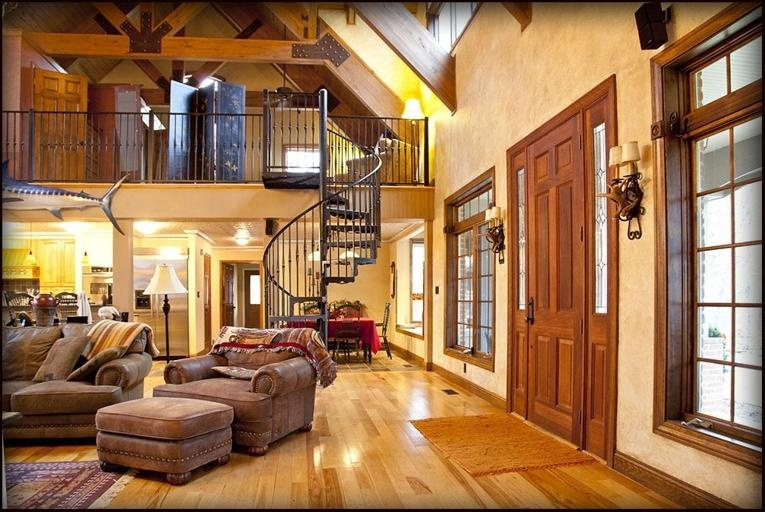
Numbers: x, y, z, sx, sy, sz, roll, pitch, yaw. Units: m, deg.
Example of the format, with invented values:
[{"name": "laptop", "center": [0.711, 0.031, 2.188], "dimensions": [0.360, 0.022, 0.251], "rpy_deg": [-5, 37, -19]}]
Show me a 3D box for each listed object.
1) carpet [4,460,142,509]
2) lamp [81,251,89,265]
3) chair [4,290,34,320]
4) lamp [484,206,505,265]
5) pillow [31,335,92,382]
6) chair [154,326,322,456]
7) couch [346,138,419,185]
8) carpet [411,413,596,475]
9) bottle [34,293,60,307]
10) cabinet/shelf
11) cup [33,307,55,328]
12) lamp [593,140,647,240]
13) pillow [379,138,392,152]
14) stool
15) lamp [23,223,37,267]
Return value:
[{"name": "carpet", "center": [-2.869, 2.022, 5.010], "dimensions": [1.177, 0.088, 0.850], "rpy_deg": [-1, 2, -3]}, {"name": "lamp", "center": [-5.891, 0.024, 11.135], "dimensions": [0.144, 0.278, 0.266], "rpy_deg": [-2, 3, -27]}, {"name": "chair", "center": [-6.811, 0.914, 10.497], "dimensions": [0.498, 0.804, 0.535], "rpy_deg": [3, -10, -32]}, {"name": "lamp", "center": [1.449, -0.299, 7.295], "dimensions": [0.183, 0.798, 0.349], "rpy_deg": [-1, 3, -6]}, {"name": "pillow", "center": [-3.514, 1.110, 6.176], "dimensions": [0.476, 0.452, 0.153], "rpy_deg": [-4, -36, 23]}, {"name": "chair", "center": [-1.446, 1.318, 6.090], "dimensions": [1.606, 1.080, 1.243], "rpy_deg": [-3, -7, 22]}, {"name": "couch", "center": [0.052, -1.814, 10.853], "dimensions": [1.121, 1.069, 1.067], "rpy_deg": [1, -3, -24]}, {"name": "carpet", "center": [1.155, 1.940, 5.959], "dimensions": [1.316, 0.060, 1.719], "rpy_deg": [-1, 2, -17]}, {"name": "bottle", "center": [-4.246, 0.541, 6.974], "dimensions": [0.278, 0.179, 0.278], "rpy_deg": [0, -1, 0]}, {"name": "cabinet/shelf", "center": [-4.611, -2.433, 10.973], "dimensions": [3.997, 2.237, 3.952], "rpy_deg": [-1, 2, -7]}, {"name": "cup", "center": [-4.252, 0.757, 6.999], "dimensions": [0.266, 0.254, 0.253], "rpy_deg": [0, -3, 0]}, {"name": "lamp", "center": [2.120, -0.599, 5.092], "dimensions": [0.300, 0.889, 0.416], "rpy_deg": [-1, 3, -9]}, {"name": "pillow", "center": [0.052, -2.147, 10.739], "dimensions": [0.190, 0.326, 0.349], "rpy_deg": [1, 1, -13]}, {"name": "stool", "center": [-1.914, 1.487, 5.250], "dimensions": [0.997, 0.526, 0.736], "rpy_deg": [-2, -4, 23]}, {"name": "lamp", "center": [-7.150, -0.171, 11.363], "dimensions": [0.204, 0.742, 0.187], "rpy_deg": [0, 4, 7]}]
